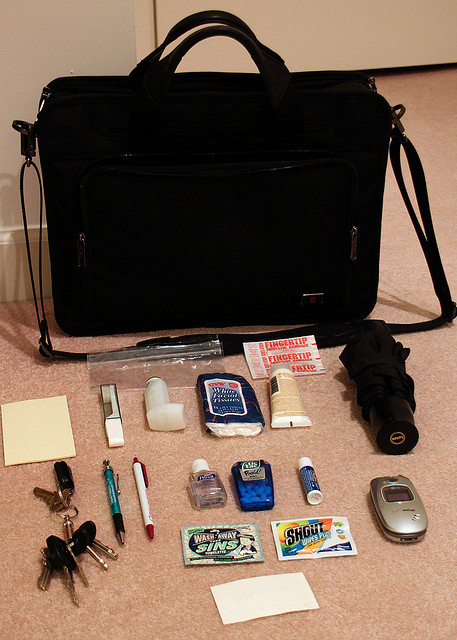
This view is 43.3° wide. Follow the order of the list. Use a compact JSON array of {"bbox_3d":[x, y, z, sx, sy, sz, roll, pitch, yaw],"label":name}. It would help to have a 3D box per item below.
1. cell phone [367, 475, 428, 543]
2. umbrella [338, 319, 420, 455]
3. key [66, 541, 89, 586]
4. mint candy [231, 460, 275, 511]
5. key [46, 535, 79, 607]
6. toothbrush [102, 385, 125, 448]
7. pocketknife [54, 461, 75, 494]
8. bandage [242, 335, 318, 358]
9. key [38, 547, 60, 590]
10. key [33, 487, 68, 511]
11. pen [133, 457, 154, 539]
[{"bbox_3d":[0.188,0.204,0.636,0.049,0.032,0.091,-3,16,3],"label":"cell phone"},{"bbox_3d":[0.219,0.092,0.809,0.090,0.083,0.212,-2,33,6],"label":"umbrella"},{"bbox_3d":[-0.147,0.234,0.555,0.008,0.044,0.005,-25,11,-2],"label":"key"},{"bbox_3d":[0.029,0.188,0.665,0.047,0.042,0.061,-4,32,-12],"label":"mint candy"},{"bbox_3d":[-0.152,0.232,0.542,0.017,0.035,0.063,-26,48,-26],"label":"key"},{"bbox_3d":[-0.151,0.133,0.768,0.020,0.028,0.107,-5,42,-5],"label":"toothbrush"},{"bbox_3d":[-0.189,0.180,0.664,0.019,0.009,0.033,-15,51,-27],"label":"pocketknife"},{"bbox_3d":[0.085,0.043,0.958,0.119,0.013,0.041,-5,42,-5],"label":"bandage"},{"bbox_3d":[-0.170,0.237,0.548,0.023,0.023,0.029,33,46,-24],"label":"key"},{"bbox_3d":[-0.200,0.197,0.645,0.034,0.020,0.009,23,78,30],"label":"key"},{"bbox_3d":[-0.092,0.199,0.647,0.016,0.012,0.114,-3,37,-8],"label":"pen"}]
